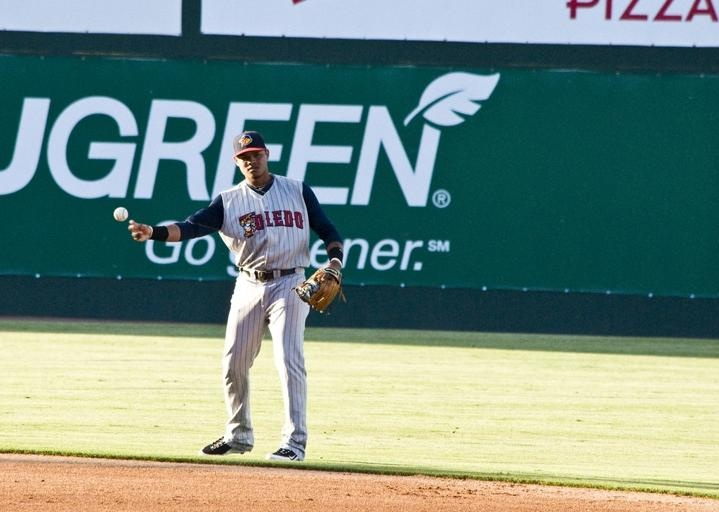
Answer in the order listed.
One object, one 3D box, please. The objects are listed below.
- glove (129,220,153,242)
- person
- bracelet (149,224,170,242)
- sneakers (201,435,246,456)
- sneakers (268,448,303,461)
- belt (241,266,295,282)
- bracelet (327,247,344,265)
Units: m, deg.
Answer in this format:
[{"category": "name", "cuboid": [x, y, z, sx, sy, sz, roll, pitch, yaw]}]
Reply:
[{"category": "glove", "cuboid": [-2.151, -0.308, 14.964, 0.145, 0.167, 0.278, -5, -4, 43]}, {"category": "person", "cuboid": [-0.960, 0.326, 14.087, 1.528, 2.840, 0.355, 4, 1, 0]}, {"category": "bracelet", "cuboid": [-1.842, -0.254, 13.959, 0.134, 0.141, 0.140, -10, -8, 1]}, {"category": "sneakers", "cuboid": [-1.259, 1.697, 14.159, 0.485, 0.195, 0.165, 5, -2, 1]}, {"category": "sneakers", "cuboid": [-0.689, 1.745, 14.012, 0.317, 0.127, 0.116, 7, -3, -5]}, {"category": "belt", "cuboid": [-0.863, 0.113, 14.056, 0.535, 0.122, 0.141, 4, 1, 17]}, {"category": "bracelet", "cuboid": [-0.210, -0.053, 14.165, 0.142, 0.151, 0.142, 1, -4, -30]}]
